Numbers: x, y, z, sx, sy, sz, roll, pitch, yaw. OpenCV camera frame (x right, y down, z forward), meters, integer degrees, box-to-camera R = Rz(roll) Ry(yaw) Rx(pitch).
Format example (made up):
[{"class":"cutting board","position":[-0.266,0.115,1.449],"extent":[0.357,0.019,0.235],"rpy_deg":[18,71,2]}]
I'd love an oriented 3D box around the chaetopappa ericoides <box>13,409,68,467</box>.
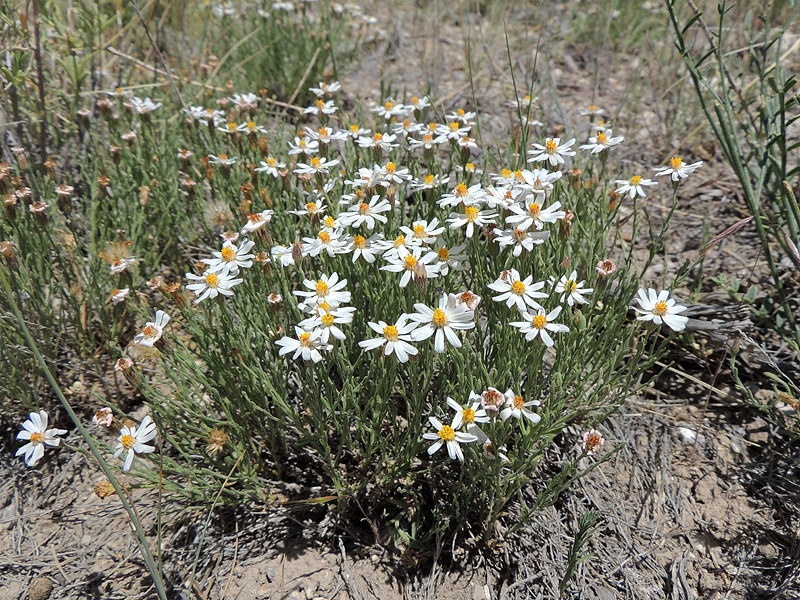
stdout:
[{"class":"chaetopappa ericoides","position":[-1.679,0.672,3.349],"extent":[0.251,0.112,0.270],"rpy_deg":[-5,10,-36]}]
